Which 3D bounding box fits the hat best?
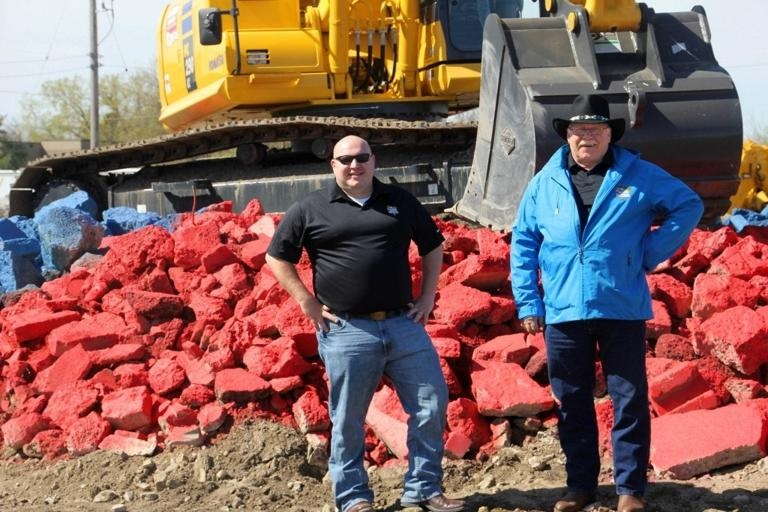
[{"bbox_3d":[1.602,-1.095,7.175,0.510,0.262,0.637,0,-11,10],"label":"hat"}]
